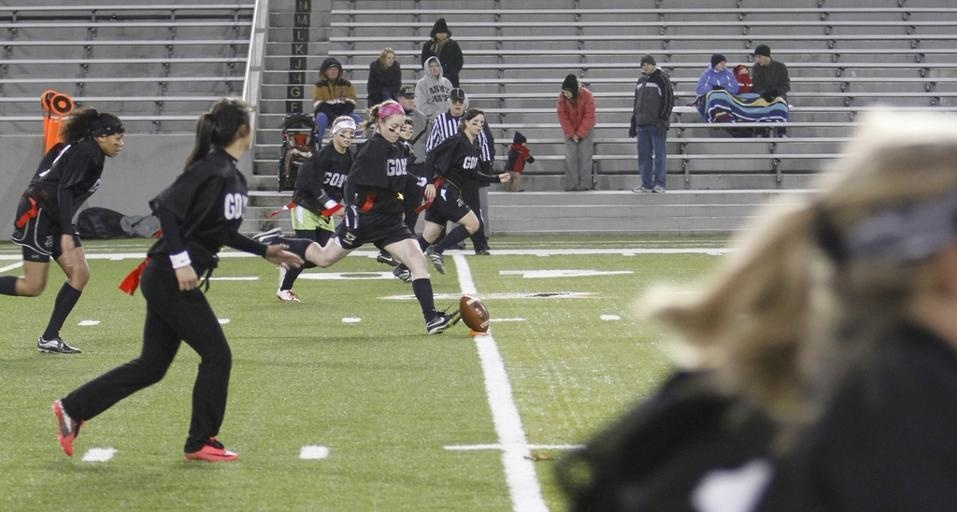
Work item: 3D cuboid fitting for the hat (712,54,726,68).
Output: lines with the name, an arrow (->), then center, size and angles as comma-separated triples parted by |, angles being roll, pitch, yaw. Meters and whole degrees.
hat -> 5.588, -4.512, 31.479 | 0.369, 0.296, 0.277 | 2, 16, 37

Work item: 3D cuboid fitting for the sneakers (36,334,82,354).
sneakers -> -6.618, 1.413, 21.168 | 0.714, 0.259, 0.257 | 3, -1, -7

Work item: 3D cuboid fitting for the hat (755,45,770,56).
hat -> 6.587, -4.757, 31.478 | 0.373, 0.266, 0.366 | -10, 3, 26

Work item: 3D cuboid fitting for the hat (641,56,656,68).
hat -> 3.705, -4.260, 29.556 | 0.302, 0.295, 0.383 | -2, -17, 14

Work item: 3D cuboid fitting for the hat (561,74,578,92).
hat -> 2.020, -3.824, 29.981 | 0.372, 0.381, 0.396 | -2, 5, -1

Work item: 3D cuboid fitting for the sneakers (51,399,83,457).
sneakers -> -5.647, 2.418, 18.532 | 0.256, 0.513, 0.186 | -21, -8, -15

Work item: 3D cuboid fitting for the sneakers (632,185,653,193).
sneakers -> 3.710, -1.481, 30.513 | 0.485, 0.204, 0.169 | 3, 5, -2
